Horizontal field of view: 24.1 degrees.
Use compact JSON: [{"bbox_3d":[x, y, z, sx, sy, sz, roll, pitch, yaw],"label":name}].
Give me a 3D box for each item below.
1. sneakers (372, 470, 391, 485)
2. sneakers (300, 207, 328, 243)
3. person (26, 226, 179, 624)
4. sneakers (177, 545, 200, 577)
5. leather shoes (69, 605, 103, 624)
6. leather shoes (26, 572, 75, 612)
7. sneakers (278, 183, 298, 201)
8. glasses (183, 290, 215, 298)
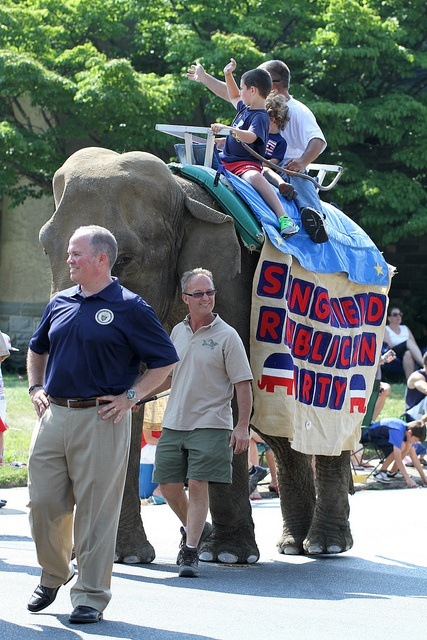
[{"bbox_3d":[1.654,1.538,9.785,0.154,0.103,0.247,5,-4,7],"label":"sneakers"},{"bbox_3d":[0.586,-0.551,5.864,0.123,0.215,0.096,-23,11,27],"label":"sneakers"},{"bbox_3d":[-0.549,0.416,4.175,0.626,1.601,0.336,5,-5,21],"label":"person"},{"bbox_3d":[-0.119,1.197,4.972,0.103,0.157,0.112,6,-4,0],"label":"sneakers"},{"bbox_3d":[-0.510,1.155,3.926,0.060,0.051,0.120,-3,-17,20],"label":"leather shoes"},{"bbox_3d":[-0.686,1.127,4.156,0.063,0.074,0.178,21,40,24],"label":"leather shoes"},{"bbox_3d":[0.434,-0.742,5.880,0.071,0.044,0.115,24,-17,10],"label":"sneakers"},{"bbox_3d":[-0.072,-0.127,5.042,0.151,0.053,0.043,6,-4,-14],"label":"glasses"}]
